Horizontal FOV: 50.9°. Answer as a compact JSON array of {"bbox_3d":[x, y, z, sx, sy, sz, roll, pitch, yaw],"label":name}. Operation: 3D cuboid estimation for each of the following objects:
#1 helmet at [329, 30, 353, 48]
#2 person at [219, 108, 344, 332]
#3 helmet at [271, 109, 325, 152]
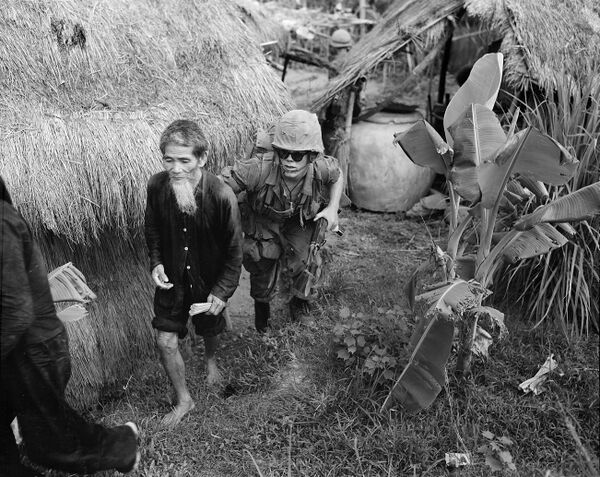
[{"bbox_3d":[0.542,-2.622,8.254,0.283,0.228,0.281,2,24,4],"label":"helmet"},{"bbox_3d":[-0.211,-0.113,5.603,1.106,2.130,0.845,-7,32,-16],"label":"person"},{"bbox_3d":[-0.004,-0.869,5.177,0.279,0.262,0.404,4,20,1],"label":"helmet"}]
